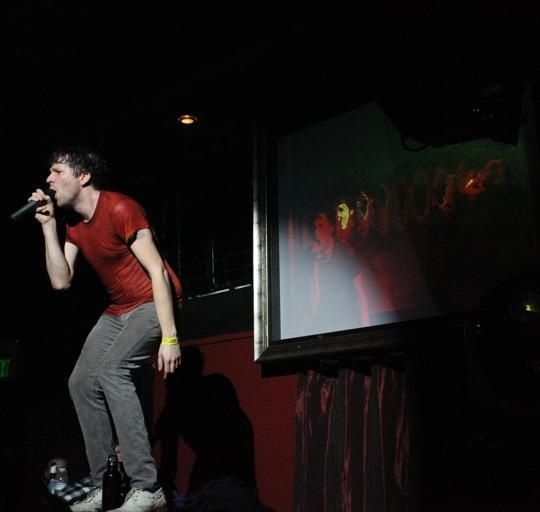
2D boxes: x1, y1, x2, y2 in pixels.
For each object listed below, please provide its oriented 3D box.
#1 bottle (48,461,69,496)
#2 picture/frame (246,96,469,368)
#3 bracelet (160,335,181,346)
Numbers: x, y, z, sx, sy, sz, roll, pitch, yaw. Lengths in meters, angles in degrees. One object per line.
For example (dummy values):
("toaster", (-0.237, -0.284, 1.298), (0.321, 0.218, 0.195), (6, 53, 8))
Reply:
("bottle", (-1.125, 1.169, 2.970), (0.084, 0.182, 0.158), (5, -22, -22))
("picture/frame", (0.616, -0.186, 3.042), (1.373, 1.578, 0.117), (-9, 29, 1))
("bracelet", (-0.449, 0.382, 2.567), (0.056, 0.041, 0.104), (-14, -13, 39))
